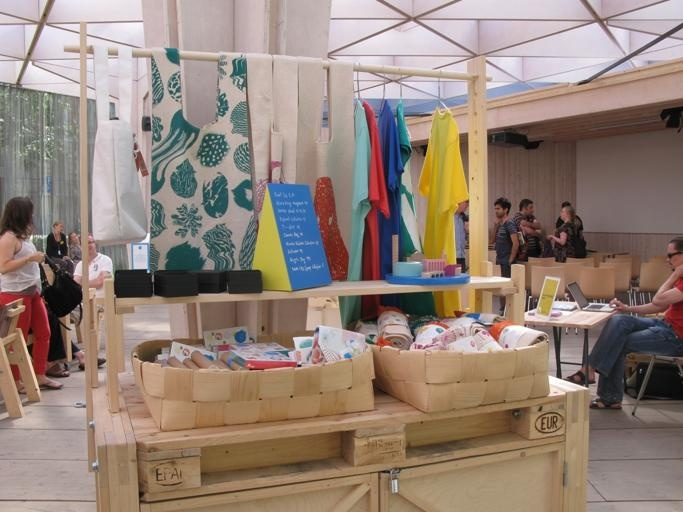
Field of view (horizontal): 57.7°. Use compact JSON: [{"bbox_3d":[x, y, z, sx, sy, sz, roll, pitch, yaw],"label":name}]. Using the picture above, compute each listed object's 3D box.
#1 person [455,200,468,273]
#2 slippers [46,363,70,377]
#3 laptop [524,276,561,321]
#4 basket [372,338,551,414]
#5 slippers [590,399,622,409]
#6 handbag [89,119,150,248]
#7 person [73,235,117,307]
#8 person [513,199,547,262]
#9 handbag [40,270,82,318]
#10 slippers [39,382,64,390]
[{"bbox_3d":[1.735,-0.362,8.982,0.245,0.970,0.237,-7,42,7],"label":"person"},{"bbox_3d":[-2.801,1.122,6.089,0.271,0.112,0.096,-5,-5,38],"label":"slippers"},{"bbox_3d":[1.648,0.338,5.004,0.017,0.355,0.165,19,-4,-25],"label":"laptop"},{"bbox_3d":[0.612,0.559,3.307,0.978,0.286,1.047,0,0,19],"label":"basket"},{"bbox_3d":[2.114,1.208,5.005,0.245,0.079,0.094,6,-6,8],"label":"slippers"},{"bbox_3d":[-1.050,-0.350,2.914,0.232,0.568,0.064,-3,5,-18],"label":"handbag"},{"bbox_3d":[-2.441,0.195,6.054,0.406,0.732,0.370,-9,-6,-13],"label":"person"},{"bbox_3d":[2.862,-0.155,9.525,0.368,1.410,0.381,-5,4,34],"label":"person"},{"bbox_3d":[-2.583,0.343,5.681,0.306,0.350,0.186,-45,30,-19],"label":"handbag"},{"bbox_3d":[-2.634,1.178,5.632,0.189,0.055,0.075,1,0,-10],"label":"slippers"}]
